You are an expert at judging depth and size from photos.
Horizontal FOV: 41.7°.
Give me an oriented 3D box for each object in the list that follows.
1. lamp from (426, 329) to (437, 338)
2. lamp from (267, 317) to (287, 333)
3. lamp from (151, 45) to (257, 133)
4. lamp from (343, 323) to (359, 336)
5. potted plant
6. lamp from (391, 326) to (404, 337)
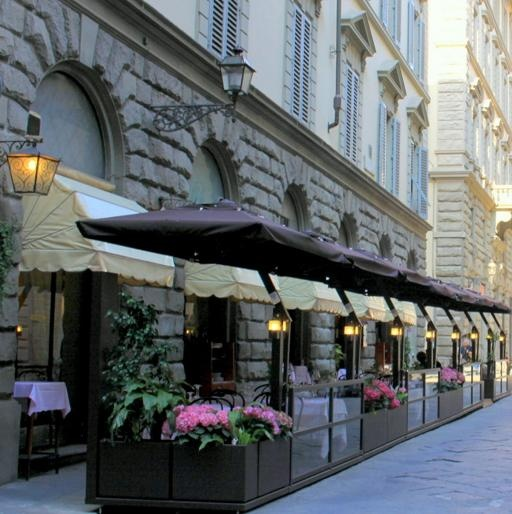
[{"bbox_3d":[3.852,1.724,14.890,0.174,0.230,0.148,1,-2,19],"label":"lamp"},{"bbox_3d":[0.233,0.737,7.287,0.145,0.180,0.151,2,1,-27],"label":"lamp"},{"bbox_3d":[-0.963,-2.836,11.294,1.595,1.645,0.569,-1,-9,6],"label":"lamp"},{"bbox_3d":[1.407,1.090,9.936,0.148,0.126,0.173,-2,-12,13],"label":"lamp"},{"bbox_3d":[-1.056,1.244,6.201,0.753,1.843,0.627,1,-9,-16],"label":"potted plant"},{"bbox_3d":[2.517,1.347,12.016,0.138,0.122,0.154,-3,-11,29],"label":"lamp"}]
